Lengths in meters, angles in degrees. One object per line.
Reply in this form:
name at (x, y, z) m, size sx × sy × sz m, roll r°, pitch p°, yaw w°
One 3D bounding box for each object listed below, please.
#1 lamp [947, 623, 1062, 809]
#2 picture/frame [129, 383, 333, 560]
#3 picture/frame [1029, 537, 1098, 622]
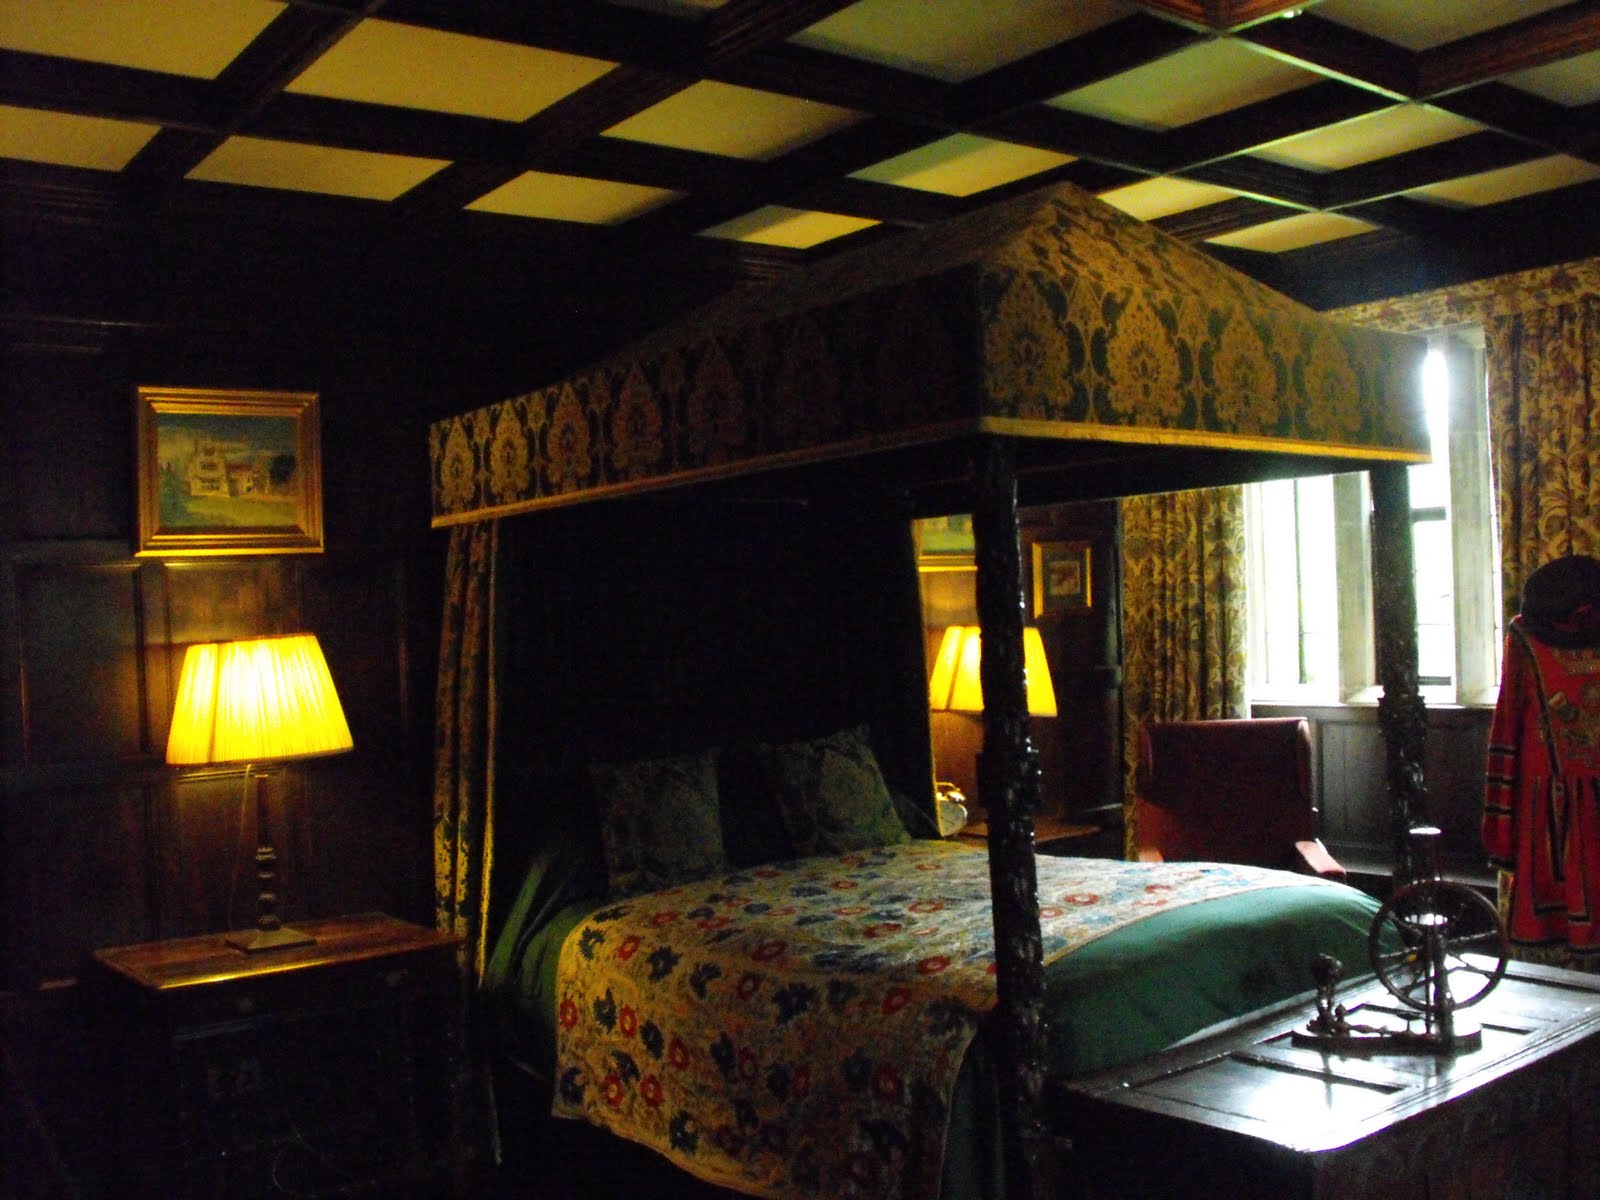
lamp at (1.021, 0.513, 6.909) m, size 0.669 × 0.736 × 0.747 m, roll 1°, pitch -1°, yaw 8°
picture/frame at (-2.460, -0.547, 5.482) m, size 0.721 × 0.766 × 0.053 m, roll -2°, pitch 2°, yaw -40°
picture/frame at (1.564, -0.143, 7.724) m, size 0.442 × 0.547 × 0.056 m, roll -2°, pitch 5°, yaw -9°
